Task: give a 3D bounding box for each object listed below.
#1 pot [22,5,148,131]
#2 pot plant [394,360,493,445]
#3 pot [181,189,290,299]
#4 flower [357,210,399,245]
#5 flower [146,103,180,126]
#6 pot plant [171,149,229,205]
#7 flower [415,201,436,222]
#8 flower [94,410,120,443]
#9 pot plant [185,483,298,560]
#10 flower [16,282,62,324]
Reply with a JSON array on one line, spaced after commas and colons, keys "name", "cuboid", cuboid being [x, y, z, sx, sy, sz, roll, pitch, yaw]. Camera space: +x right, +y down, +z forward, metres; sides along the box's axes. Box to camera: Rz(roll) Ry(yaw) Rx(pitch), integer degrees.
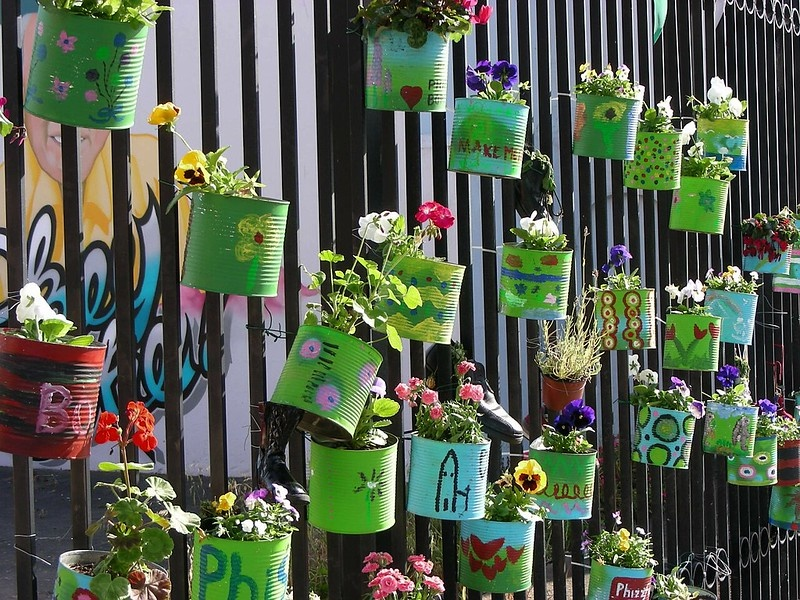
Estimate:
[{"name": "pot", "cuboid": [-1.289, -0.909, 8.790, 0.480, 0.544, 0.492, 15, 3, -1]}, {"name": "pot plant", "cuboid": [0.197, 0.465, 9.155, 0.390, 0.290, 0.327, 2, 4, -12]}, {"name": "pot", "cuboid": [-0.712, -0.302, 8.902, 0.402, 0.480, 0.435, 8, 21, -3]}, {"name": "flower", "cuboid": [-0.093, -0.314, 8.983, 0.174, 0.140, 0.133, 4, 9, -1]}, {"name": "flower", "cuboid": [-1.016, -0.793, 8.811, 0.128, 0.112, 0.226, 3, 9, -7]}, {"name": "pot plant", "cuboid": [-0.871, -0.532, 8.786, 0.214, 0.265, 0.230, 3, 9, -7]}, {"name": "flower", "cuboid": [0.117, -0.388, 9.107, 0.092, 0.112, 0.232, 4, 9, -1]}, {"name": "flower", "cuboid": [-1.234, 0.536, 8.634, 0.114, 0.135, 0.039, 18, -11, -14]}, {"name": "pot plant", "cuboid": [-0.627, 0.904, 8.756, 0.357, 0.195, 0.332, -3, 10, -26]}, {"name": "flower", "cuboid": [-1.514, 0.018, 8.640, 0.202, 0.198, 0.215, 2, 9, -11]}]
